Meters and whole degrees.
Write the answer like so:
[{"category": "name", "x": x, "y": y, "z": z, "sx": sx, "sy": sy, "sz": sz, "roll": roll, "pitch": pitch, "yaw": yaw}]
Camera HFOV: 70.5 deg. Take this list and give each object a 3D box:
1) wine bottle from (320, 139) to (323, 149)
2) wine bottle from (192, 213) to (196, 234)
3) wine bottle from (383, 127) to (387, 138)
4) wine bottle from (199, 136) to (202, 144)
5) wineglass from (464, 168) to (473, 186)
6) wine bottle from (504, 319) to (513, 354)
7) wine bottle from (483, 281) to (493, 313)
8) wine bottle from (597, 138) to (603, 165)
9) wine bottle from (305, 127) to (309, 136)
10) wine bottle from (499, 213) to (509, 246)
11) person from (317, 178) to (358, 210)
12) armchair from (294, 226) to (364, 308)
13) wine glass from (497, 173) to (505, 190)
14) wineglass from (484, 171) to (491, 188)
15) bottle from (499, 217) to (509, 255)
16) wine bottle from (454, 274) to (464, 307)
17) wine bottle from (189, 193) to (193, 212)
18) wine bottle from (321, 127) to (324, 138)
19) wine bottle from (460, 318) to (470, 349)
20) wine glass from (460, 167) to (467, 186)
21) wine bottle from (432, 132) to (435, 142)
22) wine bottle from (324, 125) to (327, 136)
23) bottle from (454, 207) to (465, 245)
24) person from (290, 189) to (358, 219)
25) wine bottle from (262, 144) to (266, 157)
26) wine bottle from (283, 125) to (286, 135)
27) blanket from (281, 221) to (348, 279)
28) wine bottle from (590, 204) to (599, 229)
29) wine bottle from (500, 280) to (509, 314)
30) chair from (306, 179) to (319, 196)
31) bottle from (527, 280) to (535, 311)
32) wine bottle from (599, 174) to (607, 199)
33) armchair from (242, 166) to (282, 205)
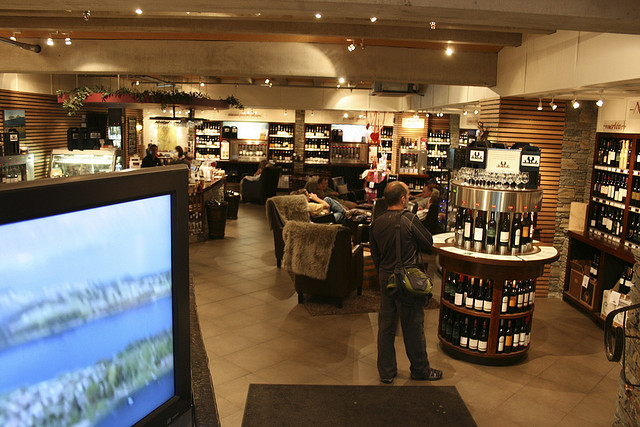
[{"category": "wine bottle", "x": 0.054, "y": -2.592, "z": 16.967, "sx": 0.095, "sy": 0.324, "sz": 0.141, "roll": 1, "pitch": 10, "yaw": -8}, {"category": "wine bottle", "x": -2.838, "y": 0.227, "z": 10.255, "sx": 0.086, "sy": 0.419, "sz": 0.032, "roll": -6, "pitch": 13, "yaw": -40}, {"category": "wine bottle", "x": 2.399, "y": -2.949, "z": 16.553, "sx": 0.096, "sy": 0.339, "sz": 0.094, "roll": 2, "pitch": 10, "yaw": 0}, {"category": "wine bottle", "x": -4.550, "y": -2.802, "z": 17.338, "sx": 0.094, "sy": 0.258, "sz": 0.151, "roll": 0, "pitch": 10, "yaw": -14}, {"category": "wineglass", "x": 1.878, "y": -0.485, "z": 5.715, "sx": 0.088, "sy": 0.165, "sz": 0.110, "roll": -7, "pitch": 14, "yaw": -42}, {"category": "wine bottle", "x": 2.225, "y": 1.458, "z": 5.350, "sx": 0.121, "sy": 0.399, "sz": 0.063, "roll": -7, "pitch": 14, "yaw": -44}, {"category": "wine bottle", "x": 1.944, "y": 0.972, "z": 5.236, "sx": 0.094, "sy": 0.359, "sz": 0.046, "roll": 7, "pitch": 10, "yaw": 22}, {"category": "wine bottle", "x": 4.518, "y": -1.013, "z": 7.330, "sx": 0.041, "sy": 0.391, "sz": 0.066, "roll": 4, "pitch": 10, "yaw": 10}, {"category": "wine bottle", "x": -0.477, "y": -3.048, "z": 16.844, "sx": 0.142, "sy": 0.302, "sz": 0.183, "roll": 2, "pitch": 10, "yaw": -2}, {"category": "wine bottle", "x": 2.158, "y": 0.187, "z": 5.315, "sx": 0.098, "sy": 0.371, "sz": 0.169, "roll": 4, "pitch": 10, "yaw": 10}, {"category": "person", "x": 0.435, "y": -0.511, "z": 11.638, "sx": 0.999, "sy": 1.022, "sz": 0.691, "roll": 4, "pitch": 14, "yaw": -3}, {"category": "armchair", "x": 0.151, "y": 0.762, "z": 7.088, "sx": 1.149, "sy": 1.217, "sz": 1.084, "roll": -6, "pitch": 7, "yaw": -42}, {"category": "wine glass", "x": 2.173, "y": -0.396, "z": 5.453, "sx": 0.081, "sy": 0.168, "sz": 0.363, "roll": 7, "pitch": 11, "yaw": 22}, {"category": "wineglass", "x": 2.036, "y": -0.424, "z": 5.529, "sx": 0.066, "sy": 0.179, "sz": 0.222, "roll": 6, "pitch": 11, "yaw": 20}, {"category": "bottle", "x": 2.154, "y": 0.263, "z": 5.306, "sx": 0.132, "sy": 0.418, "sz": 0.118, "roll": -2, "pitch": 11, "yaw": -24}, {"category": "wine bottle", "x": 1.675, "y": 0.933, "z": 5.417, "sx": 0.089, "sy": 0.369, "sz": 0.096, "roll": 2, "pitch": 10, "yaw": 0}, {"category": "wine bottle", "x": -2.865, "y": -0.228, "z": 10.140, "sx": 0.052, "sy": 0.409, "sz": 0.158, "roll": -1, "pitch": 11, "yaw": -21}, {"category": "wine bottle", "x": 0.098, "y": -3.020, "z": 16.869, "sx": 0.097, "sy": 0.368, "sz": 0.173, "roll": 2, "pitch": 10, "yaw": -5}, {"category": "wine bottle", "x": 1.729, "y": 1.443, "z": 5.431, "sx": 0.089, "sy": 0.342, "sz": 0.126, "roll": 3, "pitch": 10, "yaw": 0}, {"category": "wine glass", "x": 1.822, "y": -0.487, "z": 5.744, "sx": 0.071, "sy": 0.186, "sz": 0.223, "roll": 5, "pitch": 10, "yaw": 15}, {"category": "wine bottle", "x": 3.739, "y": -2.507, "z": 14.941, "sx": 0.063, "sy": 0.286, "sz": 0.070, "roll": 2, "pitch": 10, "yaw": 0}, {"category": "wine bottle", "x": 0.215, "y": -3.079, "z": 16.882, "sx": 0.094, "sy": 0.345, "sz": 0.122, "roll": 1, "pitch": 10, "yaw": -7}, {"category": "bottle", "x": 1.734, "y": 0.151, "z": 5.624, "sx": 0.099, "sy": 0.444, "sz": 0.234, "roll": 5, "pitch": 10, "yaw": 13}, {"category": "person", "x": 0.086, "y": -0.077, "z": 9.635, "sx": 1.399, "sy": 0.587, "sz": 0.485, "roll": 6, "pitch": -10, "yaw": 16}, {"category": "wine bottle", "x": -2.090, "y": -2.328, "z": 17.021, "sx": 0.117, "sy": 0.395, "sz": 0.072, "roll": 0, "pitch": 10, "yaw": -17}, {"category": "wine bottle", "x": -1.322, "y": -3.102, "z": 16.948, "sx": 0.096, "sy": 0.277, "sz": 0.183, "roll": 1, "pitch": 10, "yaw": -7}, {"category": "blanket", "x": -0.157, "y": 0.530, "z": 6.515, "sx": 0.802, "sy": 0.839, "sz": 0.330, "roll": 2, "pitch": 6, "yaw": 12}, {"category": "wine bottle", "x": 4.441, "y": 0.039, "z": 7.326, "sx": 0.082, "sy": 0.357, "sz": 0.200, "roll": 4, "pitch": 10, "yaw": 9}, {"category": "wine bottle", "x": 2.123, "y": 0.974, "z": 5.224, "sx": 0.121, "sy": 0.377, "sz": 0.060, "roll": -5, "pitch": 12, "yaw": -36}, {"category": "chair", "x": -0.151, "y": -0.571, "z": 9.841, "sx": 0.267, "sy": 0.363, "sz": 0.277, "roll": 9, "pitch": 15, "yaw": 31}, {"category": "bottle", "x": 2.504, "y": 0.969, "z": 5.397, "sx": 0.063, "sy": 0.348, "sz": 0.193, "roll": 7, "pitch": 11, "yaw": 23}, {"category": "wine bottle", "x": 4.495, "y": -0.434, "z": 7.202, "sx": 0.070, "sy": 0.373, "sz": 0.193, "roll": 9, "pitch": 12, "yaw": 31}, {"category": "armchair", "x": -2.055, "y": -0.934, "z": 15.785, "sx": 1.054, "sy": 1.228, "sz": 0.907, "roll": -4, "pitch": -15, "yaw": 15}]
